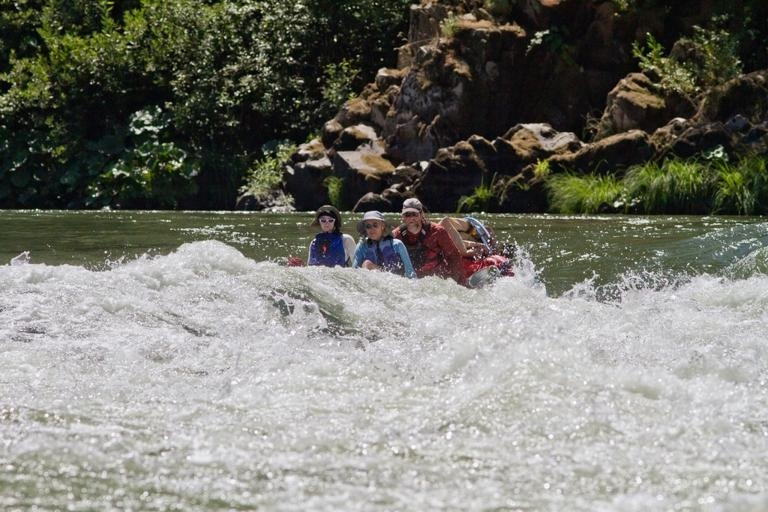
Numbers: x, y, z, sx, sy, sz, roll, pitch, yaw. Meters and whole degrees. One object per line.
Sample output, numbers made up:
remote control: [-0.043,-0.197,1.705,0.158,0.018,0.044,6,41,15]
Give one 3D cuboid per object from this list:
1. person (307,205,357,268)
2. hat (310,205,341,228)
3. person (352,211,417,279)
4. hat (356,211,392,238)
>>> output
person: [-0.883,-0.191,17.721,0.936,1.315,0.736,1,-21,-7]
hat: [-0.954,-0.686,17.841,0.430,0.401,0.504,-1,15,0]
person: [0.018,-0.158,17.400,0.775,1.345,0.485,-18,-9,5]
hat: [-0.152,-0.563,17.334,0.441,0.239,0.431,5,-9,-18]
